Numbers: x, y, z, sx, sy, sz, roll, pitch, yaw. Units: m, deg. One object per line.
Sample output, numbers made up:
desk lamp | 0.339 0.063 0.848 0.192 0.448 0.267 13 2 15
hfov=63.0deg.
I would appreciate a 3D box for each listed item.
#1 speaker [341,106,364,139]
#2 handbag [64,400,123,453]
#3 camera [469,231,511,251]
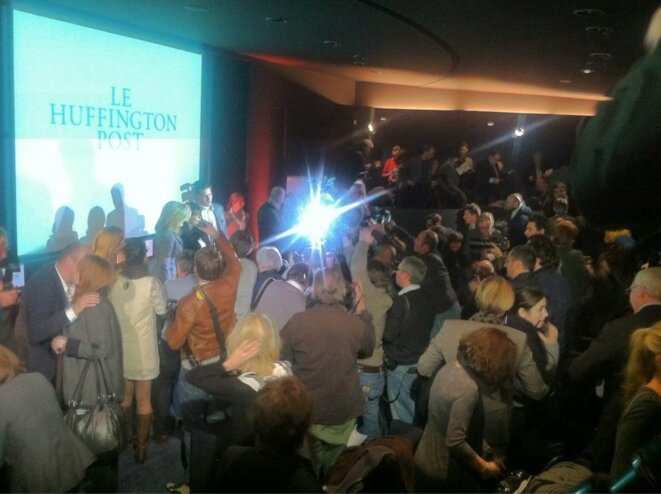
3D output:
speaker | 0.423 -2.393 10.481 0.500 0.744 0.508 -1 8 -1
handbag | -1.659 1.191 3.792 0.356 0.276 0.569 7 -5 -36
camera | 1.678 -0.059 5.794 0.314 0.141 0.238 -6 -3 27
